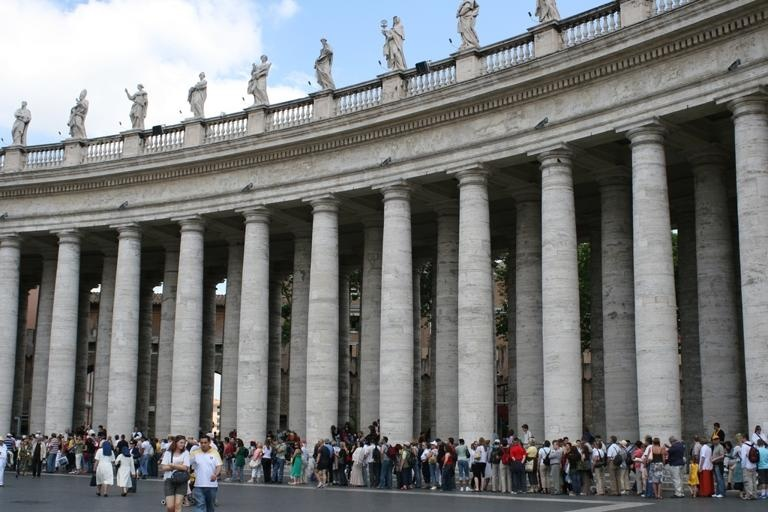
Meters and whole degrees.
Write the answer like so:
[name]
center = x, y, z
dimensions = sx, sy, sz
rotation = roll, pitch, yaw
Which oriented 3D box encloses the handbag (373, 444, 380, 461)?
[handbag]
center = -0.512, 11.570, 80.742
dimensions = 0.542, 0.867, 0.273
rotation = -1, -4, 32
